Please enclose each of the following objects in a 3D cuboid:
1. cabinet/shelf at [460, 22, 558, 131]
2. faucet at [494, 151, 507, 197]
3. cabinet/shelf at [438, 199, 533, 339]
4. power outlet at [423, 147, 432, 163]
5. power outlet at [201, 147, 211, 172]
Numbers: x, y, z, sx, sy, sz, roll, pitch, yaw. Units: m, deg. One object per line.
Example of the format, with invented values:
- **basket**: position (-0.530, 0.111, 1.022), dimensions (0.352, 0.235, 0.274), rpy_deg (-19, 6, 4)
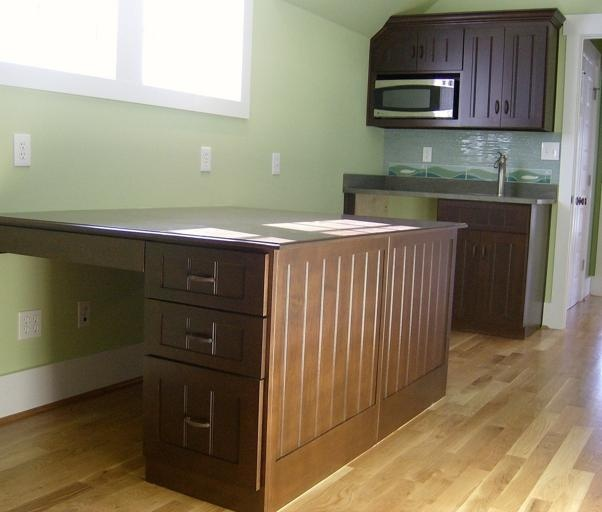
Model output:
- **cabinet/shelf**: position (1.564, -1.433, 3.932), dimensions (0.736, 0.845, 0.351), rpy_deg (12, 44, 30)
- **faucet**: position (1.601, -0.672, 4.136), dimensions (0.092, 0.358, 0.266), rpy_deg (4, 7, 21)
- **cabinet/shelf**: position (1.452, 0.038, 3.956), dimensions (0.575, 1.032, 0.465), rpy_deg (5, 15, 33)
- **power outlet**: position (1.103, -0.886, 4.504), dimensions (0.084, 0.131, 0.007), rpy_deg (5, 7, 28)
- **power outlet**: position (-0.532, -0.543, 2.893), dimensions (0.016, 0.144, 0.082), rpy_deg (5, 7, 31)
